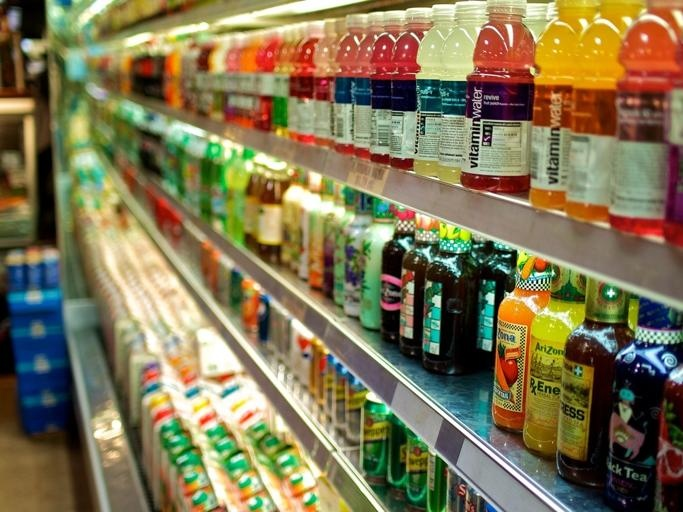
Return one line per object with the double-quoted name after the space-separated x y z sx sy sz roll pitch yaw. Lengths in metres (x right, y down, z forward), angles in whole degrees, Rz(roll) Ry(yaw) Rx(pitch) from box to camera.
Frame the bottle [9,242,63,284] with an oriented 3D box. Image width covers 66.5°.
-2.340 0.058 3.967 0.307 0.295 0.315 -2 5 -25 "bottle"
